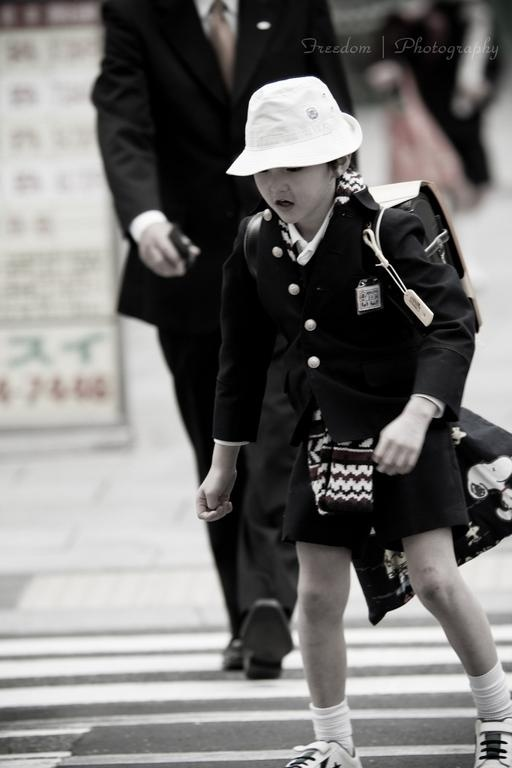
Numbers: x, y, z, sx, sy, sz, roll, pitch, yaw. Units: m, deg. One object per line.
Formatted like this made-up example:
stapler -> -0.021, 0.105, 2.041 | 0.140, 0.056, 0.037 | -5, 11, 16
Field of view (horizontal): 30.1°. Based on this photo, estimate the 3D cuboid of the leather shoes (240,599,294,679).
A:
leather shoes -> 0.014, 0.757, 2.782 | 0.126, 0.295, 0.128 | 6, 44, -1

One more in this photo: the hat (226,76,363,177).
hat -> 0.070, -0.465, 1.750 | 0.214, 0.109, 0.239 | -8, 12, 28
